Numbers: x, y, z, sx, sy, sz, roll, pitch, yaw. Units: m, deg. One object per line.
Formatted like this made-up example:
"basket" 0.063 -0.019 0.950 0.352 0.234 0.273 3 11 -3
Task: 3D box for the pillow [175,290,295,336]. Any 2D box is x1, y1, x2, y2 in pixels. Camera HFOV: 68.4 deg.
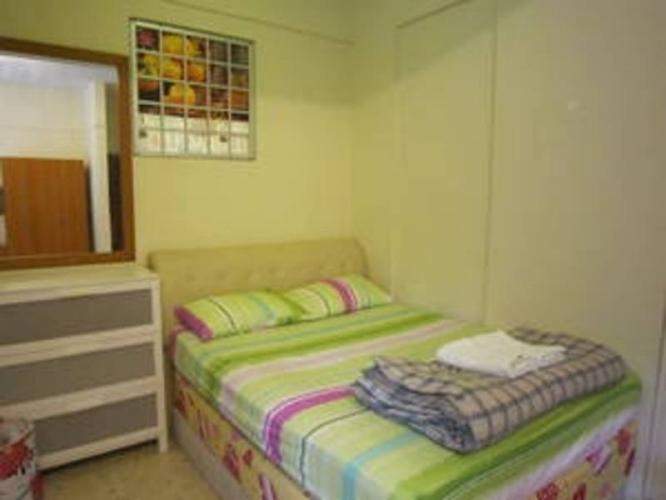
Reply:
"pillow" -0.462 0.294 2.335 0.355 0.164 0.608 11 11 42
